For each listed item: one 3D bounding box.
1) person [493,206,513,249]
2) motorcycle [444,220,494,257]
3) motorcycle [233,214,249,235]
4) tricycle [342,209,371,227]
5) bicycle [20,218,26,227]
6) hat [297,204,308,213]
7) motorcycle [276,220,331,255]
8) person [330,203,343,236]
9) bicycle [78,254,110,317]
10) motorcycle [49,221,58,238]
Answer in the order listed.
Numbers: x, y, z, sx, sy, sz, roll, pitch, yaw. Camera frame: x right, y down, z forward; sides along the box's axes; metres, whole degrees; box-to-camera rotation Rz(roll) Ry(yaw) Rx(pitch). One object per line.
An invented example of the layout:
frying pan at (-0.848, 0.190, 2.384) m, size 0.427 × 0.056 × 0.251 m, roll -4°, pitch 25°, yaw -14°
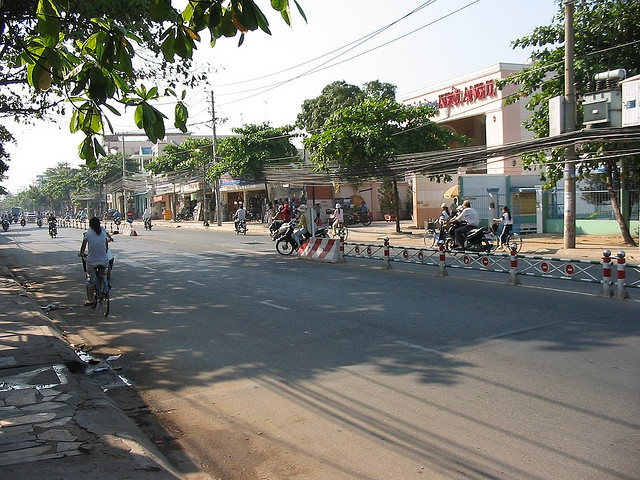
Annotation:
person at (7.202, -0.439, 20.705) m, size 0.537 × 1.675 × 1.414 m, roll 0°, pitch 6°, yaw 18°
motorcycle at (5.417, 0.002, 19.617) m, size 2.279 × 1.369 × 1.107 m, roll 2°, pitch 3°, yaw 33°
motorcycle at (-5.655, -1.001, 37.602) m, size 0.885 × 0.913 × 1.437 m, roll -4°, pitch 11°, yaw -23°
tricycle at (2.934, -1.782, 42.848) m, size 2.422 × 1.420 × 1.156 m, roll 2°, pitch -1°, yaw 0°
bicycle at (-44.448, -2.596, 78.254) m, size 0.422 × 1.179 × 1.361 m, roll -4°, pitch 6°, yaw -18°
hat at (-0.807, -1.341, 22.264) m, size 0.467 × 0.324 × 0.379 m, roll -5°, pitch 1°, yaw -37°
motorcycle at (-0.974, 0.024, 22.918) m, size 2.431 × 1.455 × 1.212 m, roll 1°, pitch 10°, yaw 11°
person at (0.936, -1.051, 29.941) m, size 0.568 × 1.653 × 1.357 m, roll -2°, pitch 6°, yaw 1°
bicycle at (-5.281, 1.141, 11.782) m, size 0.722 × 0.994 × 1.714 m, roll -3°, pitch 15°, yaw -32°
motorcycle at (-21.153, -0.751, 42.041) m, size 0.863 × 1.168 × 1.920 m, roll -2°, pitch 1°, yaw -32°
